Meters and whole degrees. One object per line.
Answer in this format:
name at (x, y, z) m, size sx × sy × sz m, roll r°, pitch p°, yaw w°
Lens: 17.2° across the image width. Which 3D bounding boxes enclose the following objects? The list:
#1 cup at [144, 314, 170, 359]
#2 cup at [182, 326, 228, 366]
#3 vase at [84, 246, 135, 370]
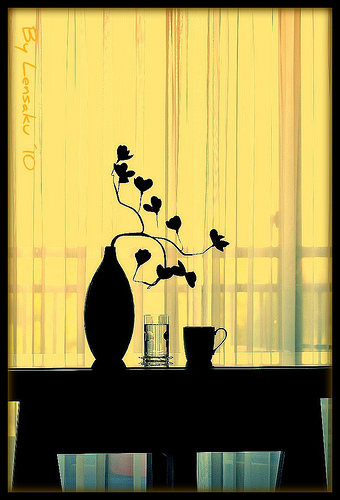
cup at (-0.035, 0.223, 2.941) m, size 0.058 × 0.182 × 0.080 m, roll 1°, pitch -5°, yaw -1°
cup at (0.095, 0.264, 2.953) m, size 0.093 × 0.147 × 0.079 m, roll 2°, pitch 4°, yaw -22°
vase at (-0.156, 0.146, 2.929) m, size 0.114 × 0.340 × 0.157 m, roll -2°, pitch 16°, yaw -15°
